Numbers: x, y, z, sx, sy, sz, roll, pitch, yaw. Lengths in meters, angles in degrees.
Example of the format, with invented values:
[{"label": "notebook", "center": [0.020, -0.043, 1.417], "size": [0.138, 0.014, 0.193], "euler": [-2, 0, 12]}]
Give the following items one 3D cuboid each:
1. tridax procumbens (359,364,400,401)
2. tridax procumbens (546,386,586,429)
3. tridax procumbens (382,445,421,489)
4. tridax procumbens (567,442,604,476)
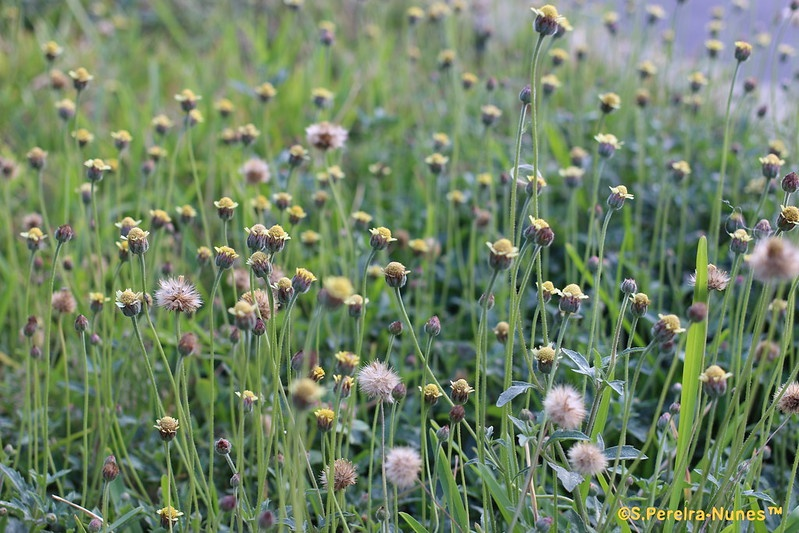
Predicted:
[{"label": "tridax procumbens", "center": [-0.100, 0.555, 5.717], "size": [0.195, 0.207, 0.185], "euler": [1, 22, -9]}, {"label": "tridax procumbens", "center": [0.748, 0.658, 5.529], "size": [0.159, 0.212, 0.176], "euler": [11, -26, -31]}, {"label": "tridax procumbens", "center": [0.006, 0.933, 5.617], "size": [0.143, 0.208, 0.170], "euler": [1, 2, 17]}, {"label": "tridax procumbens", "center": [0.840, 0.895, 5.572], "size": [0.157, 0.183, 0.096], "euler": [0, 35, 42]}]
